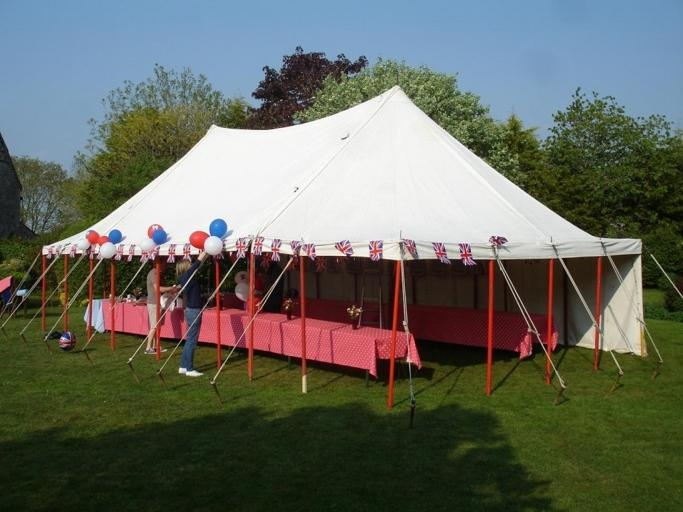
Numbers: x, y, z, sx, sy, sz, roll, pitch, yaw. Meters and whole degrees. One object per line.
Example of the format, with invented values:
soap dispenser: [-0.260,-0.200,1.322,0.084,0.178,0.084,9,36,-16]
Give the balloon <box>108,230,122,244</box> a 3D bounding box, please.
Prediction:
balloon: [-4.468,-0.362,14.598,0.253,0.267,0.295,-1,-23,-41]

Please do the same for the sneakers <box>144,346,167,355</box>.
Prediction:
sneakers: [-3.626,1.847,14.347,0.405,0.180,0.152,-5,-4,32]

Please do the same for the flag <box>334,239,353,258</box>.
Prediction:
flag: [0.053,-0.118,11.552,0.212,0.250,0.070,-25,-2,27]

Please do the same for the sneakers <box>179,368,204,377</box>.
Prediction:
sneakers: [-2.629,2.012,12.904,0.452,0.211,0.162,0,-1,8]

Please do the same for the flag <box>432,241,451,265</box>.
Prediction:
flag: [1.569,-0.047,11.435,0.328,0.330,0.130,-8,13,-34]

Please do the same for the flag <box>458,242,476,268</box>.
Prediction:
flag: [1.949,-0.017,11.671,0.219,0.411,0.105,-2,-11,-9]

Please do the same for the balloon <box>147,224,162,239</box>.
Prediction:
balloon: [-3.494,-0.452,13.829,0.263,0.291,0.323,6,17,14]
